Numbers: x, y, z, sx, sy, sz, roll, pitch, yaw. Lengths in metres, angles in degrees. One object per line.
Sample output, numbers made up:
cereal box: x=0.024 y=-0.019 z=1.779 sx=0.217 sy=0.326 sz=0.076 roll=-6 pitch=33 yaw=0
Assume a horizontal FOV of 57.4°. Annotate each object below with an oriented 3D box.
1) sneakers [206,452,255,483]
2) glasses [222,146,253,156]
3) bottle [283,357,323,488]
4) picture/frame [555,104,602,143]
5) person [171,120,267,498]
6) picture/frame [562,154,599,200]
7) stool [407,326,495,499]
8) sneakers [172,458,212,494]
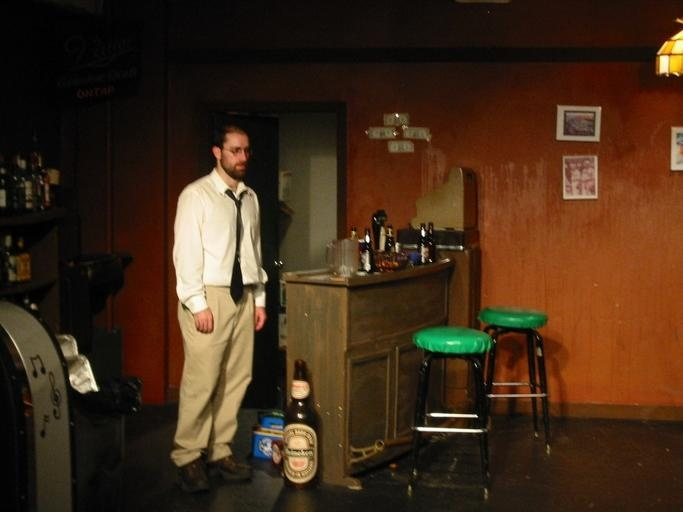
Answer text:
sneakers: x=-0.763 y=1.467 z=4.341 sx=0.367 sy=0.184 sz=0.138 roll=0 pitch=-1 yaw=13
glasses: x=-0.708 y=-0.693 z=4.159 sx=0.090 sy=0.042 sz=0.115 roll=-4 pitch=6 yaw=-35
bottle: x=-0.264 y=1.103 z=4.176 sx=0.247 sy=0.843 sz=0.206 roll=-4 pitch=9 yaw=-26
picture/frame: x=2.075 y=-1.157 z=5.415 sx=0.293 sy=0.272 sz=0.023 roll=0 pitch=3 yaw=1
person: x=-0.821 y=0.326 z=4.200 sx=0.733 sy=2.372 sz=0.439 roll=-5 pitch=10 yaw=-34
picture/frame: x=2.094 y=-0.693 z=5.432 sx=0.354 sy=0.502 sz=0.038 roll=0 pitch=2 yaw=5
stool: x=0.785 y=1.083 z=4.352 sx=0.671 sy=0.991 sz=0.682 roll=3 pitch=-5 yaw=-25
sneakers: x=-0.972 y=1.453 z=4.124 sx=0.118 sy=0.161 sz=0.302 roll=0 pitch=-4 yaw=-25
